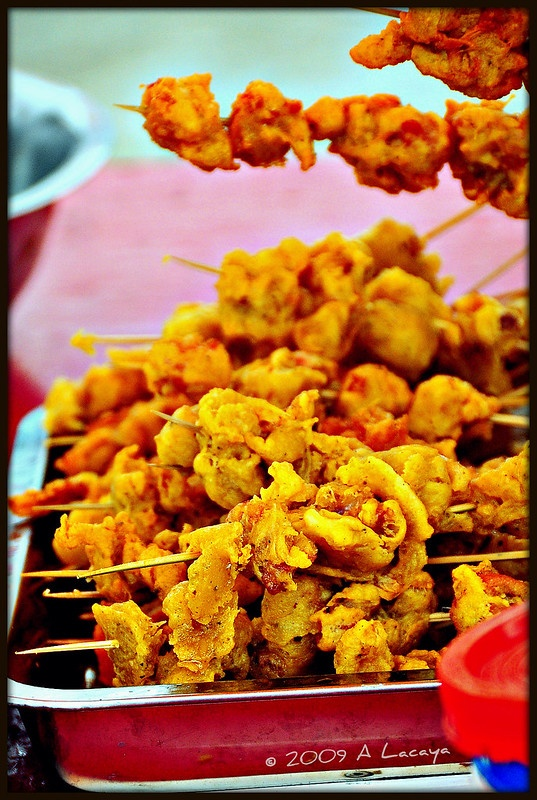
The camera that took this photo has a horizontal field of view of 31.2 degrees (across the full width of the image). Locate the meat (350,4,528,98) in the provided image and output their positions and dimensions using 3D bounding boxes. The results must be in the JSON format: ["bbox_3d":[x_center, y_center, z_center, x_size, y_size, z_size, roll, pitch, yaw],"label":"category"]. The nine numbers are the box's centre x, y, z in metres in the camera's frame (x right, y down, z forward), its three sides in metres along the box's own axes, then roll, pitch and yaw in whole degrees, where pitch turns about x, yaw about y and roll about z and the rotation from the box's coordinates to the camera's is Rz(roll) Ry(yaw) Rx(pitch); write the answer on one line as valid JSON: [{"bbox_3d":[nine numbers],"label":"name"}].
[{"bbox_3d":[0.332,-0.683,1.896,0.342,0.166,0.079,2,21,10],"label":"meat"}]
